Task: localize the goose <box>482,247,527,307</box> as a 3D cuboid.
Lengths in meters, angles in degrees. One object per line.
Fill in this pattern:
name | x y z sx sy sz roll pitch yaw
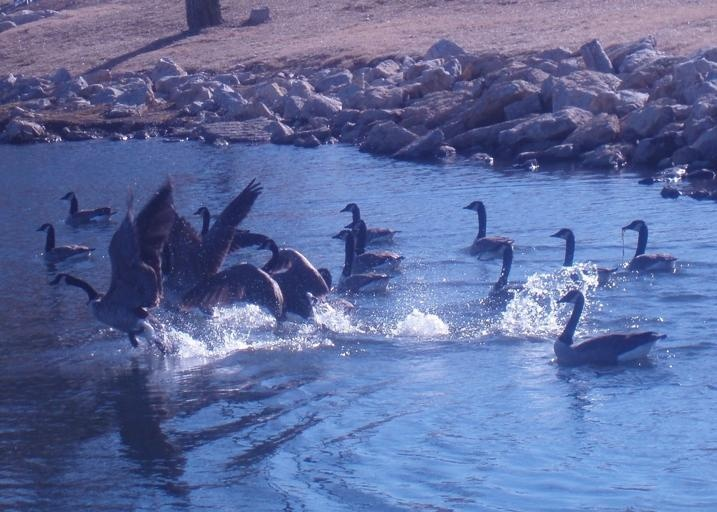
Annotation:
goose | 5.836 0.740 64.529 1.222 2.353 2.374 2 12 21
